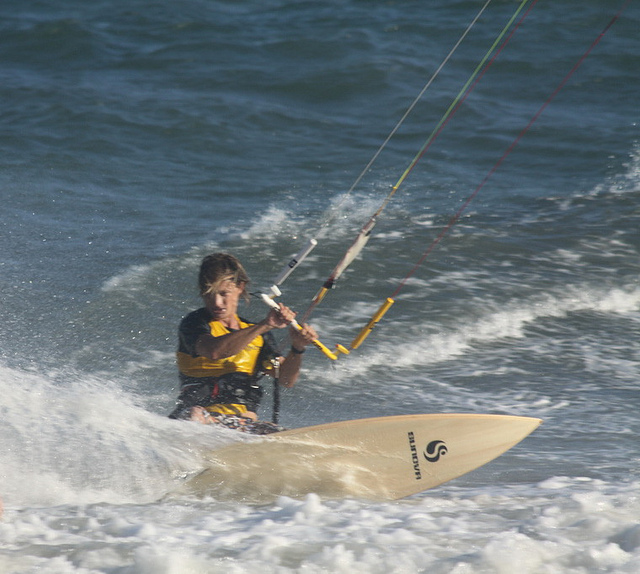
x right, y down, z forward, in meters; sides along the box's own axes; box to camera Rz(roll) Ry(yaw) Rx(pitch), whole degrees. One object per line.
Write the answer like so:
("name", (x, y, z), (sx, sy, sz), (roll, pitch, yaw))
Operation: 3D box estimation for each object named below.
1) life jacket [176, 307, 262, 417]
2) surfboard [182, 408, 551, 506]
("life jacket", (-0.948, 0.774, 10.019), (0.803, 0.725, 0.419), (12, 20, -7))
("surfboard", (0.790, 1.525, 9.970), (0.390, 1.011, 5.219), (40, -19, -6))
